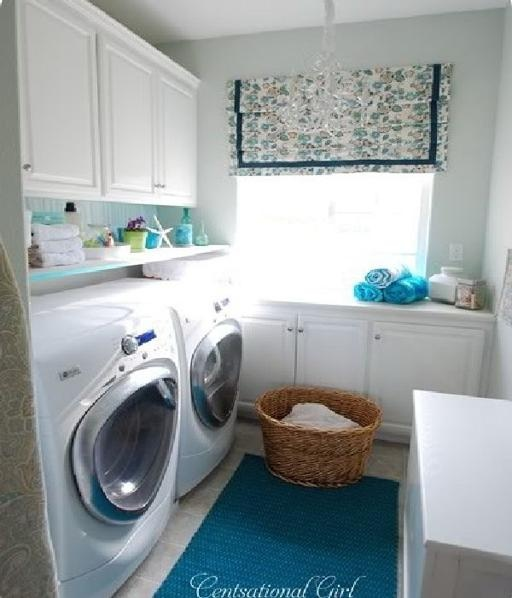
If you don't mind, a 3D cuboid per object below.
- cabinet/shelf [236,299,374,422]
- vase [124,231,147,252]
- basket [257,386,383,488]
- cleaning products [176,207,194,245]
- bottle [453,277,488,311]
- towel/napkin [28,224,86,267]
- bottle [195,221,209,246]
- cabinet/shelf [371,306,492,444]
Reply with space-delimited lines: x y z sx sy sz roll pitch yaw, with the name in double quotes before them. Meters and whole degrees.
"cabinet/shelf" 0.317 0.345 2.622 0.653 0.635 0.268 3 3 16
"vase" -0.603 -0.284 2.231 0.098 0.101 0.099 -1 6 -22
"basket" 0.253 0.721 2.280 0.502 0.261 0.435 11 15 42
"cleaning products" -0.463 -0.458 2.847 0.110 0.240 0.176 -5 11 -31
"bottle" 1.197 -0.022 2.507 0.144 0.166 0.089 3 9 16
"towel/napkin" -0.728 -0.194 1.626 0.150 0.076 0.159 13 18 26
"bottle" -0.366 -0.445 3.039 0.094 0.152 0.335 -1 9 -8
"cabinet/shelf" 1.033 0.426 2.744 0.609 0.897 0.488 1 21 20
